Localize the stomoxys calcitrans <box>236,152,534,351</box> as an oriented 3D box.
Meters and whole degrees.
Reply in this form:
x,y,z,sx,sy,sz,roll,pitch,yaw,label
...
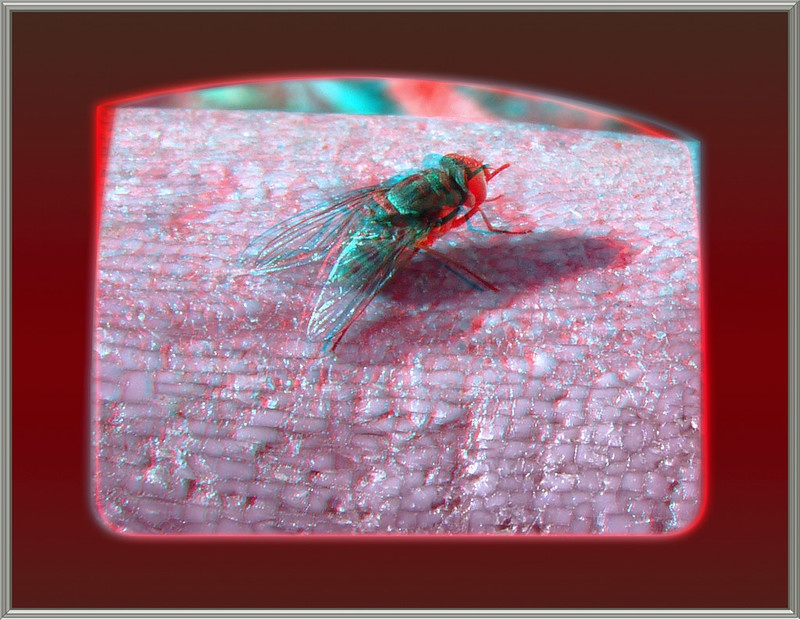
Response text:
x,y,z,sx,sy,sz,roll,pitch,yaw,label
-0.009,-0.106,1.260,0.426,0.184,0.261,-14,48,-24,stomoxys calcitrans
